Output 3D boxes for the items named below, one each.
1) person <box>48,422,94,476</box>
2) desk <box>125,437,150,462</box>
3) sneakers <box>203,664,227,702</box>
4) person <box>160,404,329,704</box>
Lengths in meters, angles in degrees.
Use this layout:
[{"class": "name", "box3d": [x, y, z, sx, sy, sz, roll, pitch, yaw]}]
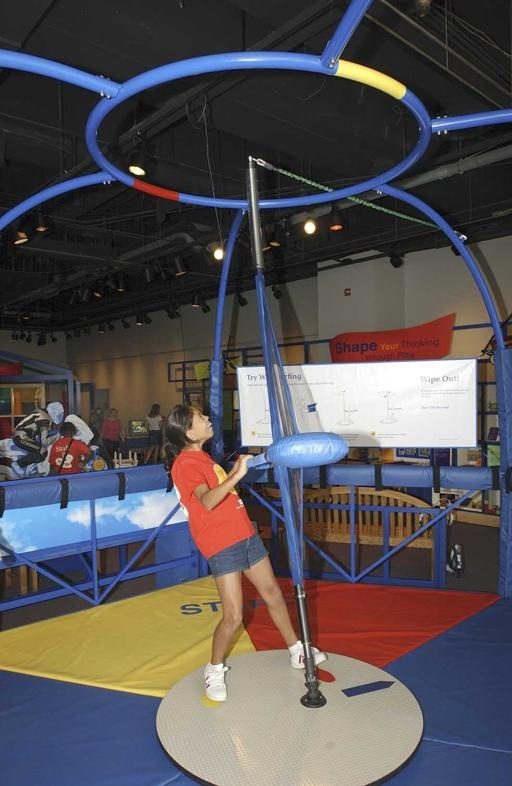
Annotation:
[{"class": "person", "box3d": [-1.717, 0.497, 5.435, 0.399, 0.475, 0.864, 0, -3, -17]}, {"class": "desk", "box3d": [-2.379, 1.104, 11.749, 0.464, 0.442, 0.696, 0, -3, -11]}, {"class": "sneakers", "box3d": [-0.174, 1.236, 2.481, 0.063, 0.081, 0.181, 4, -14, -10]}, {"class": "person", "box3d": [-0.178, 0.677, 2.557, 0.550, 1.250, 0.497, -2, -4, 23]}]
